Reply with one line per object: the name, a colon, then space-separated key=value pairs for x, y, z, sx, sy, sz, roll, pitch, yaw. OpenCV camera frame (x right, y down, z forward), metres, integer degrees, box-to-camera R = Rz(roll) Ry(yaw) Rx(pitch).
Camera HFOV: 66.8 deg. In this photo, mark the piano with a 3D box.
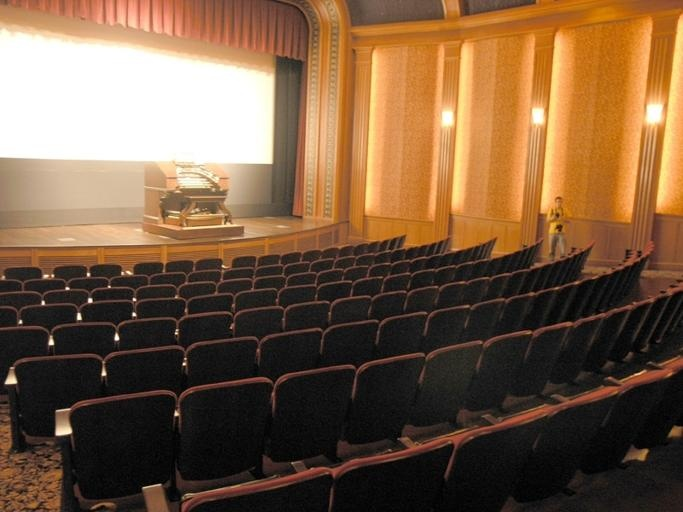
piano: x=-3.083 y=-1.288 z=10.595 sx=1.467 sy=1.296 sz=1.325 roll=13 pitch=19 yaw=42
